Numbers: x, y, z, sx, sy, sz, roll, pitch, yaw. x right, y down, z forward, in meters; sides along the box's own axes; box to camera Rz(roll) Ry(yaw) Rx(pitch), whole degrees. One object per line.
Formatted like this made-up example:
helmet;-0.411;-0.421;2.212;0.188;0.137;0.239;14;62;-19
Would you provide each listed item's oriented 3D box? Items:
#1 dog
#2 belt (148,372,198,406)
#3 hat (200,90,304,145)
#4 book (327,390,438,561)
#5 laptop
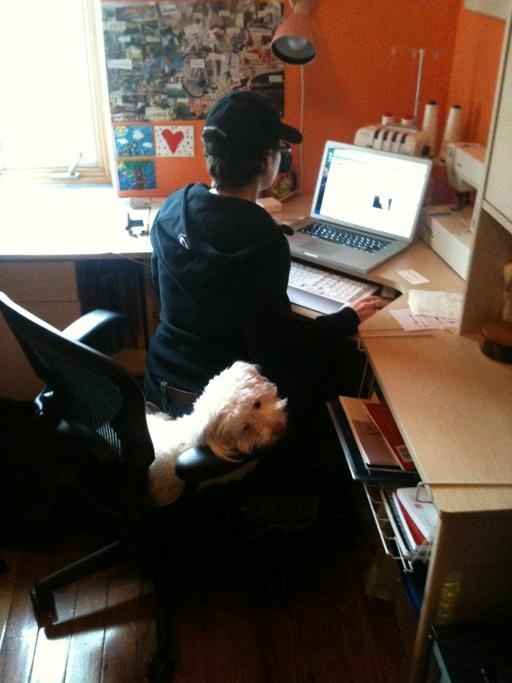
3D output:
dog;-0.098;0.191;1.207;0.277;0.347;0.281;-3;36;-10
belt;-0.213;0.136;1.366;0.118;0.039;0.084;24;0;-32
hat;-0.005;-0.524;1.370;0.222;0.108;0.151;-13;36;-20
book;0.255;0.296;1.223;0.265;0.082;0.348;-3;48;-10
laptop;0.314;-0.469;1.919;0.499;0.279;0.458;13;37;22
